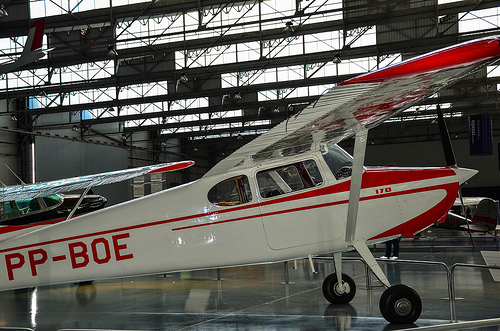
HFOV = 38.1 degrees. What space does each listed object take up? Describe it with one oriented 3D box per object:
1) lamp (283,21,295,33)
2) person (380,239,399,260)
[{"bbox_3d":[1.861,-6.680,34.965,0.423,0.529,0.720,-3,10,4],"label":"lamp"},{"bbox_3d":[6.010,3.592,31.039,0.772,0.538,2.287,-1,1,7],"label":"person"}]
